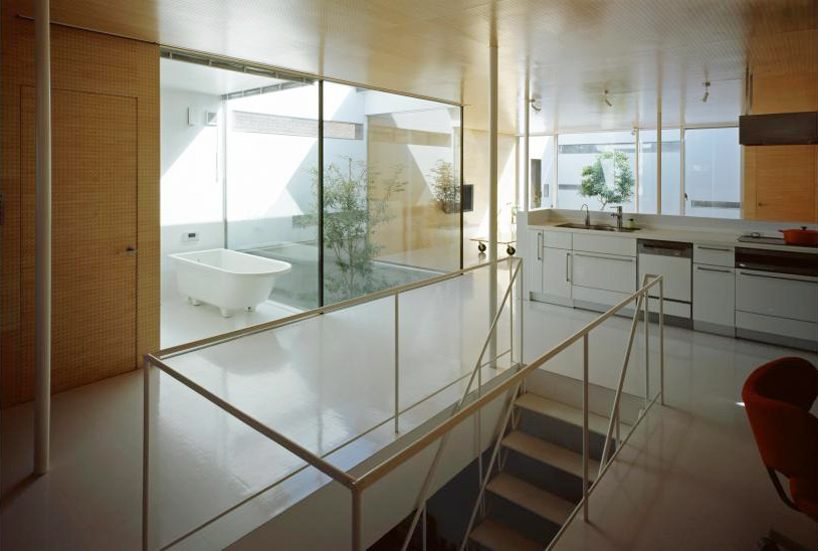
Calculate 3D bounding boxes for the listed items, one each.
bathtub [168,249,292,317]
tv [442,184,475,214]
[{"bbox_3d":[-2.386,0.069,7.307,1.416,0.582,0.871,17,18,33],"label":"bathtub"},{"bbox_3d":[0.832,-1.350,9.701,0.784,0.545,0.415,-8,12,-41],"label":"tv"}]
